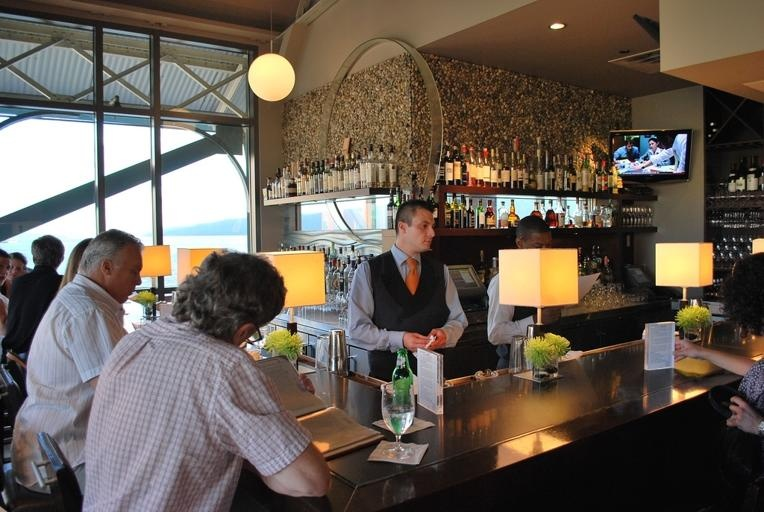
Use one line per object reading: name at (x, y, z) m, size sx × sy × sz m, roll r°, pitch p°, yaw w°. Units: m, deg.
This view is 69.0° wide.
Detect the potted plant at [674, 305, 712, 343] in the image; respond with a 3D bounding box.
potted plant at (2.095, 0.443, 3.790) m, size 0.267 × 0.275 × 0.237 m, roll 0°, pitch 0°, yaw 5°

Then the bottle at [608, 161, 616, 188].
bottle at (2.793, -0.963, 6.699) m, size 0.089 × 0.261 × 0.425 m, roll 6°, pitch 16°, yaw 21°

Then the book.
book at (-0.335, 0.759, 2.736) m, size 0.394 × 0.169 × 0.564 m, roll -3°, pitch 7°, yaw -40°

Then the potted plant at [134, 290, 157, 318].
potted plant at (-2.368, 0.452, 5.532) m, size 0.266 × 0.313 × 0.298 m, roll -2°, pitch 3°, yaw -14°

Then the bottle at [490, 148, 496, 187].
bottle at (1.140, -0.898, 5.671) m, size 0.080 × 0.342 × 0.336 m, roll 4°, pitch 15°, yaw 11°

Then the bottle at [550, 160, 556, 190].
bottle at (1.843, -0.834, 5.987) m, size 0.065 × 0.218 × 0.205 m, roll 5°, pitch 15°, yaw 16°

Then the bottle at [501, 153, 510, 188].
bottle at (1.293, -0.898, 5.806) m, size 0.098 × 0.313 × 0.467 m, roll 4°, pitch 15°, yaw 12°

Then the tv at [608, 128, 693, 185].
tv at (3.279, -1.208, 6.723) m, size 0.688 × 0.496 × 0.210 m, roll 1°, pitch 4°, yaw 19°

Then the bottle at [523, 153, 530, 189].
bottle at (1.535, -0.910, 5.945) m, size 0.086 × 0.314 × 0.483 m, roll 4°, pitch 15°, yaw 14°
